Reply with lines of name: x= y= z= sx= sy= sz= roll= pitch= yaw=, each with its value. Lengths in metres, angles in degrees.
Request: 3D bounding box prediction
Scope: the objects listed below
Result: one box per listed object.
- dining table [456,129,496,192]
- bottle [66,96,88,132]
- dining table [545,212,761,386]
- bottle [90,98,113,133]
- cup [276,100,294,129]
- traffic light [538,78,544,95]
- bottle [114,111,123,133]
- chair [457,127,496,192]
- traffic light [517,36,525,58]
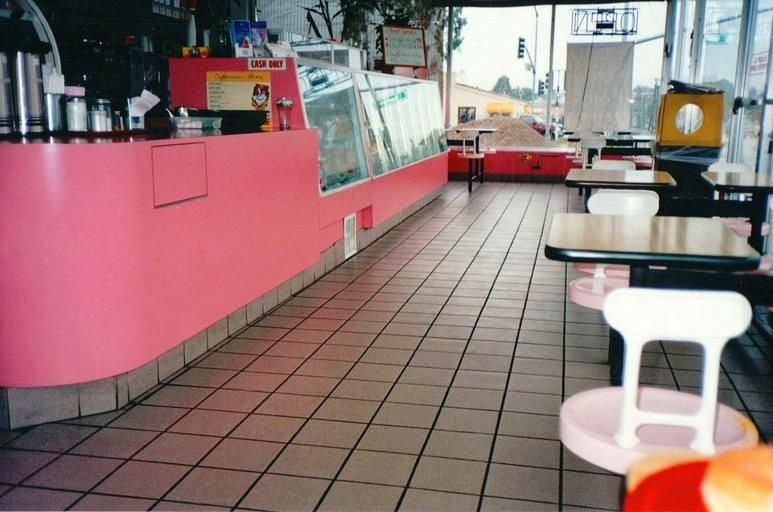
dining table: x=1.879 y=-1.965 z=12.019 sx=1.000 sy=1.229 sz=1.333 roll=-1 pitch=20 yaw=6
bottle: x=-1.969 y=-0.898 z=3.561 sx=0.140 sy=0.223 sz=0.132 roll=3 pitch=15 yaw=-1
dining table: x=1.342 y=0.163 z=3.026 sx=1.016 sy=0.610 sz=1.123 roll=7 pitch=17 yaw=28
bottle: x=-1.822 y=-0.889 z=3.592 sx=0.132 sy=0.186 sz=0.172 roll=-11 pitch=20 yaw=-25
cup: x=-0.861 y=-1.196 z=4.795 sx=0.130 sy=0.257 sz=0.251 roll=-6 pitch=18 yaw=-9
traffic light: x=3.494 y=-3.782 z=12.809 sx=0.178 sy=0.347 sz=0.064 roll=-5 pitch=19 yaw=-8
bottle: x=-1.886 y=-0.946 z=3.982 sx=0.062 sy=0.123 sz=0.373 roll=-10 pitch=20 yaw=-22
chair: x=1.886 y=-1.988 z=11.993 sx=1.090 sy=1.314 sz=1.438 roll=-1 pitch=18 yaw=6
traffic light: x=2.983 y=-4.584 z=12.526 sx=0.183 sy=0.459 sz=0.153 roll=0 pitch=19 yaw=8
